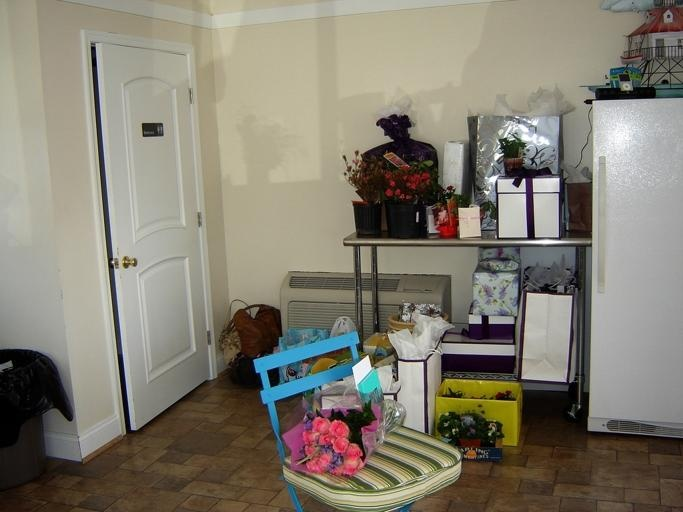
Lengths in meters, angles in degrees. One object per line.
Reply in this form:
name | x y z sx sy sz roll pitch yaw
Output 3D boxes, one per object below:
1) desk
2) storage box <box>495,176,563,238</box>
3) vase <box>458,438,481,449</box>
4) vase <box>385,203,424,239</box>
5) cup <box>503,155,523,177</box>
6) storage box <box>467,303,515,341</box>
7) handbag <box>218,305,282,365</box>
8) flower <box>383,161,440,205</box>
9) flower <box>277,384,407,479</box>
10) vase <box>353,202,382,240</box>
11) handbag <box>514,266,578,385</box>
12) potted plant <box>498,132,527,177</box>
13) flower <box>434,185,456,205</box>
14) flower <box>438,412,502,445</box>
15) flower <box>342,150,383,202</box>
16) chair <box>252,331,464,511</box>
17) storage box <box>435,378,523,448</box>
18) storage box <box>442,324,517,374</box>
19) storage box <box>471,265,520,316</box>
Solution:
desk | 0.887 0.468 3.497 1.162 0.930 0.472 0 5 10
storage box | 1.180 -0.292 3.396 0.379 0.370 0.390 1 2 38
vase | 0.766 1.116 3.194 0.094 0.070 0.054 0 -3 5
vase | 0.419 -0.250 3.579 0.227 0.229 0.238 1 6 14
cup | 1.090 -0.575 3.402 0.123 0.106 0.110 -2 4 -33
storage box | 0.995 0.470 3.595 0.245 0.164 0.255 1 7 12
handbag | -0.738 0.617 4.397 0.409 0.238 0.542 -4 16 0
flower | 0.479 -0.487 3.616 0.305 0.231 0.290 3 8 25
flower | 0.063 0.772 2.347 0.512 0.214 0.449 -10 -16 -29
vase | 0.175 -0.248 3.711 0.217 0.227 0.226 0 3 4
handbag | 1.383 0.496 3.612 0.386 0.895 0.467 2 13 21
potted plant | 1.106 -0.663 3.471 0.151 0.271 0.181 -4 11 -13
flower | 0.710 -0.418 3.645 0.131 0.101 0.132 2 8 -3
flower | 0.766 1.030 3.195 0.297 0.146 0.207 2 9 3
flower | 0.146 -0.599 3.959 0.218 0.332 0.719 -4 13 -5
chair | 0.128 0.834 2.686 0.753 1.114 0.763 -17 15 -42
storage box | 0.926 1.090 3.644 0.551 0.424 0.787 -2 -4 11
storage box | 0.966 0.587 3.901 0.510 0.254 0.711 -1 16 7
storage box | 1.009 0.217 3.536 0.278 0.280 0.291 1 6 7
